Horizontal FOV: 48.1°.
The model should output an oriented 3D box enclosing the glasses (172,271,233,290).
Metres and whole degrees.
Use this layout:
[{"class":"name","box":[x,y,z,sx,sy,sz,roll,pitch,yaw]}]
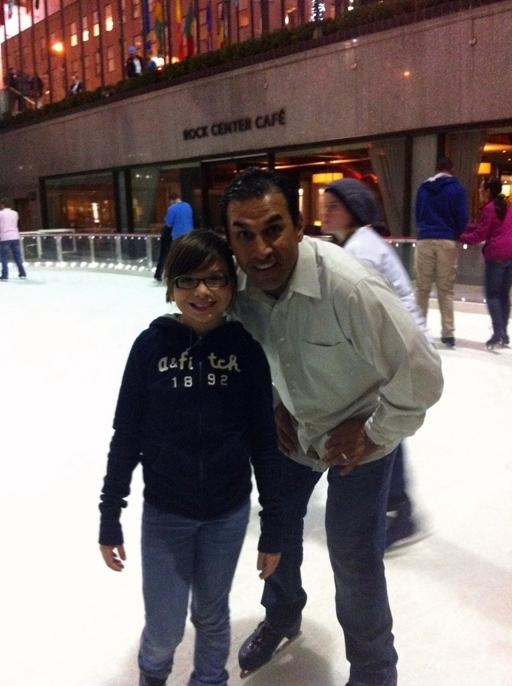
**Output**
[{"class":"glasses","box":[-0.130,-0.147,1.380,0.124,0.036,0.040,-3,14,-7]}]
